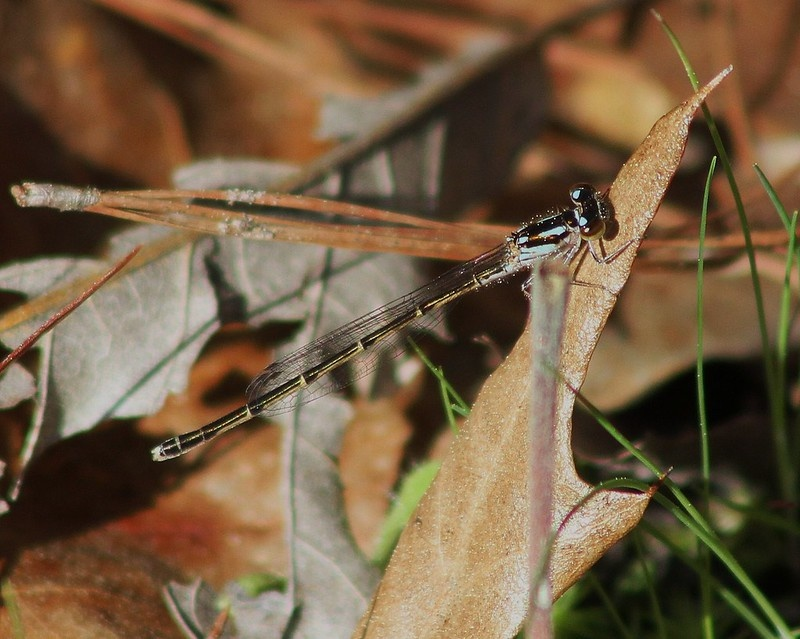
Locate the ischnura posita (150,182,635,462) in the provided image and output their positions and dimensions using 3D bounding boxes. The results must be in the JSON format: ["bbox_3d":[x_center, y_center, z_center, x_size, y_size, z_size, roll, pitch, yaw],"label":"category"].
[{"bbox_3d":[-0.017,0.004,1.145,0.443,0.090,0.094,-29,-63,-3],"label":"ischnura posita"}]
